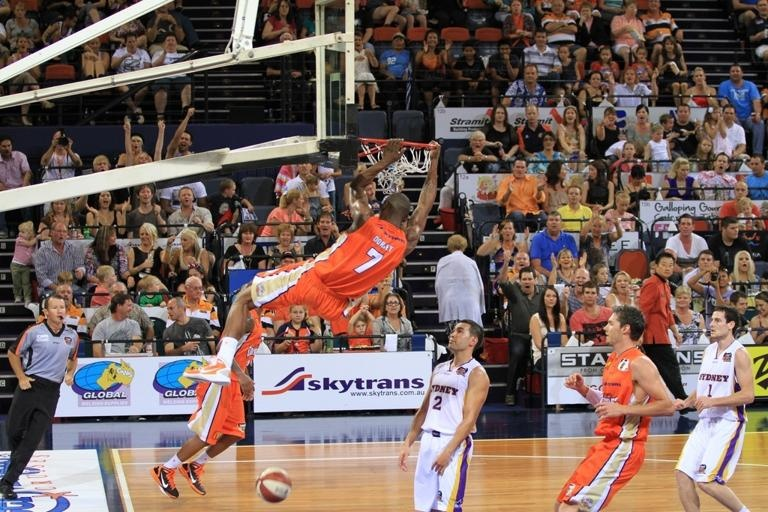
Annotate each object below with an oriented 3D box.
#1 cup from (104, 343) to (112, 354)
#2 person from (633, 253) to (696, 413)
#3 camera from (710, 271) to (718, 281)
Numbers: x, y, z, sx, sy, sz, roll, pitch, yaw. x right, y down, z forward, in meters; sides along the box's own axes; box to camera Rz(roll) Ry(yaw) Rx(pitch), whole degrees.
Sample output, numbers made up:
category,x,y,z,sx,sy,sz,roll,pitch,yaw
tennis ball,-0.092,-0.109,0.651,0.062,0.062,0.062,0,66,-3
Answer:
category,x,y,z,sx,sy,sz,roll,pitch,yaw
cup,-4.689,1.564,23.484,0.135,0.224,0.143,1,1,0
person,4.752,1.216,23.730,1.181,2.568,1.012,2,6,44
camera,5.923,0.353,24.824,0.133,0.269,0.136,3,4,5
